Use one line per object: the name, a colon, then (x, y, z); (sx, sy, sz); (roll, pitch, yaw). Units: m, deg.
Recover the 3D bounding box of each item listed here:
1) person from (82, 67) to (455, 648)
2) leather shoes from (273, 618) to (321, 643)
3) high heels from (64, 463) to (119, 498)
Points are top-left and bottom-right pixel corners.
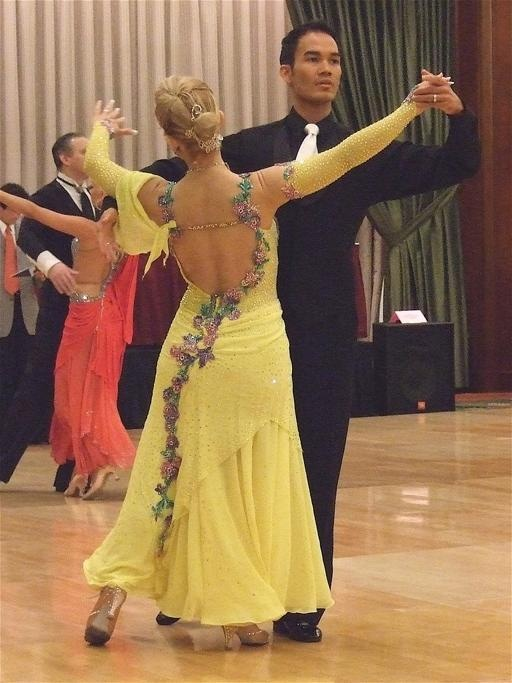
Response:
person: (-0.091, 0.038, 1.702); (0.848, 1.434, 0.349); (-3, -3, 31)
leather shoes: (0.099, 0.735, 1.808); (0.127, 0.046, 0.059); (-5, -5, 39)
high heels: (-0.915, 0.787, 3.880); (0.269, 0.116, 0.160); (-29, -32, 26)
